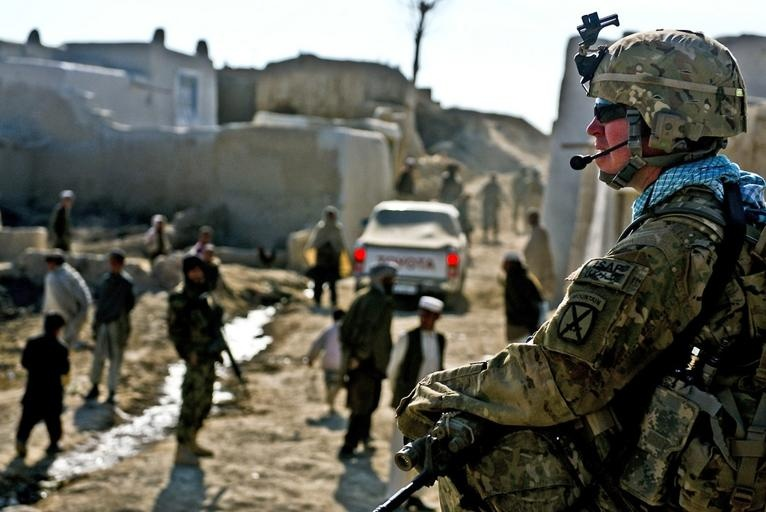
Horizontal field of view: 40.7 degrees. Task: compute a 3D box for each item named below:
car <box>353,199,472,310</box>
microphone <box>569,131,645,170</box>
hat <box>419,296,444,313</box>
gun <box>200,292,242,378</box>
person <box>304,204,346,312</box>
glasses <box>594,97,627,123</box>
[{"bbox_3d":[0.455,-0.066,16.727,1.592,1.481,3.283,4,7,3],"label":"car"},{"bbox_3d":[1.450,-0.666,6.775,0.492,0.208,0.121,-17,19,-1],"label":"microphone"},{"bbox_3d":[0.483,0.479,10.187,0.255,0.147,0.191,14,4,-1],"label":"hat"},{"bbox_3d":[-1.812,0.913,11.561,0.100,0.959,0.323,-18,7,9],"label":"gun"},{"bbox_3d":[-0.844,0.041,15.988,0.704,2.020,0.488,12,36,6],"label":"person"},{"bbox_3d":[1.463,-0.946,6.744,0.131,0.105,0.178,6,3,-5],"label":"glasses"}]
